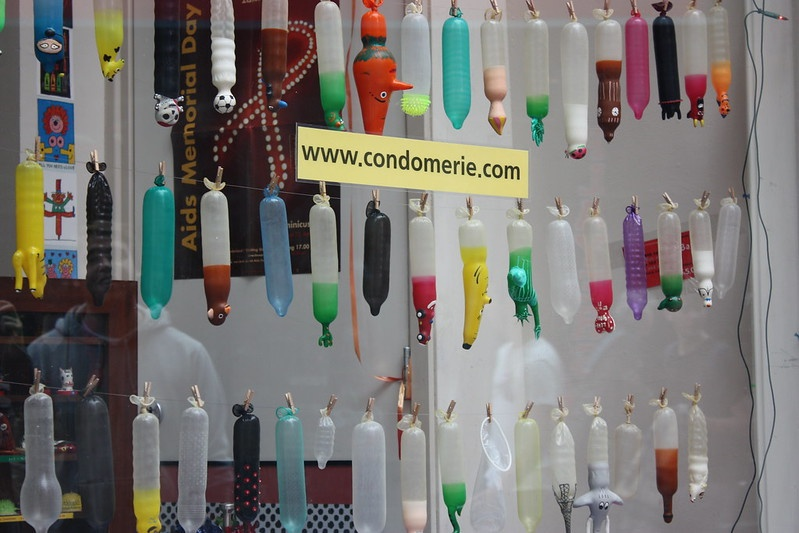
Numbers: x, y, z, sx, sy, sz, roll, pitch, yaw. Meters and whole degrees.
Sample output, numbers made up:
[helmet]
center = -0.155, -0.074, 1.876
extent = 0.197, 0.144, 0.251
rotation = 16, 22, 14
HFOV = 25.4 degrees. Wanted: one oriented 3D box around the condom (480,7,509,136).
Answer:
[condom]
center = 0.214, -0.439, 3.919
extent = 0.059, 0.294, 0.073
rotation = -1, 5, 3
